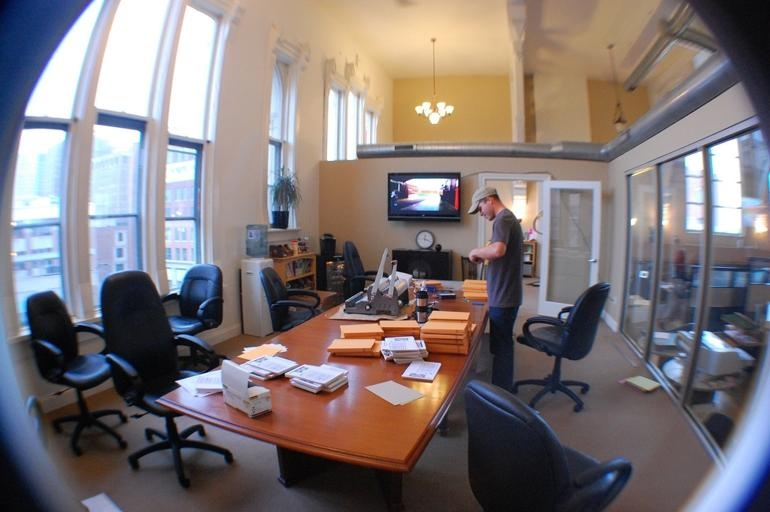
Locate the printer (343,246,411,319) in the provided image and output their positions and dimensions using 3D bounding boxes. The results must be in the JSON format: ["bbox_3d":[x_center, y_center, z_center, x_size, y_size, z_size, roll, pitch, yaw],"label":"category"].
[{"bbox_3d":[-0.084,0.236,5.579,0.583,0.638,0.674,4,8,16],"label":"printer"}]

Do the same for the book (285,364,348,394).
[{"bbox_3d":[-0.556,0.967,4.127,0.260,0.064,0.264,6,10,30],"label":"book"}]

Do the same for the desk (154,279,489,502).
[{"bbox_3d":[-0.386,1.056,4.338,2.372,0.670,1.584,0,5,6],"label":"desk"}]

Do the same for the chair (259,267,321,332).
[{"bbox_3d":[-1.217,0.547,6.415,0.589,0.951,0.721,-5,8,11],"label":"chair"}]

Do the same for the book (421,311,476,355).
[{"bbox_3d":[0.549,0.693,4.614,0.346,0.152,0.455,1,5,16],"label":"book"}]

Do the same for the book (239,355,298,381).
[{"bbox_3d":[-0.946,0.909,4.290,0.226,0.054,0.230,7,11,32],"label":"book"}]

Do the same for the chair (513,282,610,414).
[{"bbox_3d":[1.867,0.906,5.640,0.897,1.331,1.015,4,7,22],"label":"chair"}]

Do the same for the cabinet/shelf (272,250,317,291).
[{"bbox_3d":[-1.359,0.271,7.978,0.662,0.500,0.209,-5,-4,-43],"label":"cabinet/shelf"}]

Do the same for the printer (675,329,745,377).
[{"bbox_3d":[3.047,0.928,4.792,0.299,0.163,0.415,-18,13,10],"label":"printer"}]

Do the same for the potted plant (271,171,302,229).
[{"bbox_3d":[-1.558,-0.882,8.100,0.432,0.922,0.656,-2,5,-10],"label":"potted plant"}]

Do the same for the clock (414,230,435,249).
[{"bbox_3d":[0.671,-0.276,8.897,0.304,0.309,0.093,-5,-2,16],"label":"clock"}]

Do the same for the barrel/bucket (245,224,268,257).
[{"bbox_3d":[-1.810,-0.215,7.432,0.369,0.460,0.242,-4,6,-34],"label":"barrel/bucket"}]

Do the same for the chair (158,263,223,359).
[{"bbox_3d":[-2.304,0.629,6.048,0.676,0.945,0.776,5,9,27],"label":"chair"}]
